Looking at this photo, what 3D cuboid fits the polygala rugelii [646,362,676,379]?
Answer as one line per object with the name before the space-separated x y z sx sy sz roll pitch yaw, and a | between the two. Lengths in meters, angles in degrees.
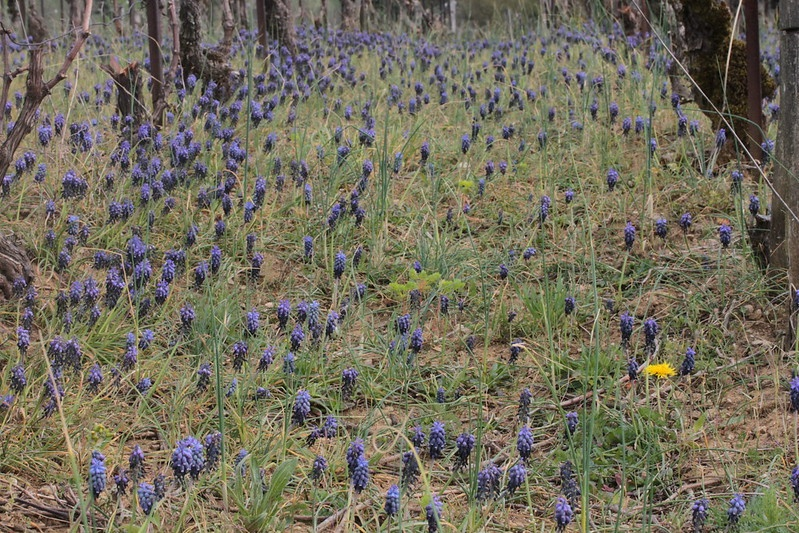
polygala rugelii | 1.458 0.602 4.735 0.127 0.061 0.134 -3 12 -30
